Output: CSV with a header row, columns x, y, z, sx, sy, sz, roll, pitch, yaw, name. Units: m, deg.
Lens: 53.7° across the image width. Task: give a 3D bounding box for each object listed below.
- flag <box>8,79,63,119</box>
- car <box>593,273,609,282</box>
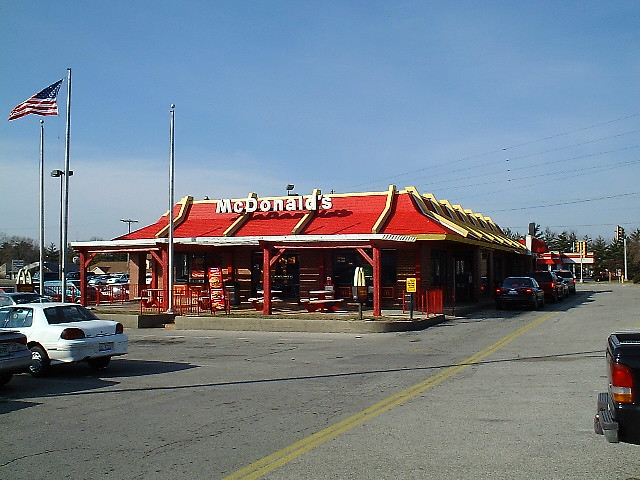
x,y,z,sx,sy,sz,roll,pitch,yaw,name
-12.519,-6.199,27.671,0.150,1.882,2.461,32,27,22,flag
52.313,7.079,117.112,2.500,0.779,2.902,0,2,5,car
